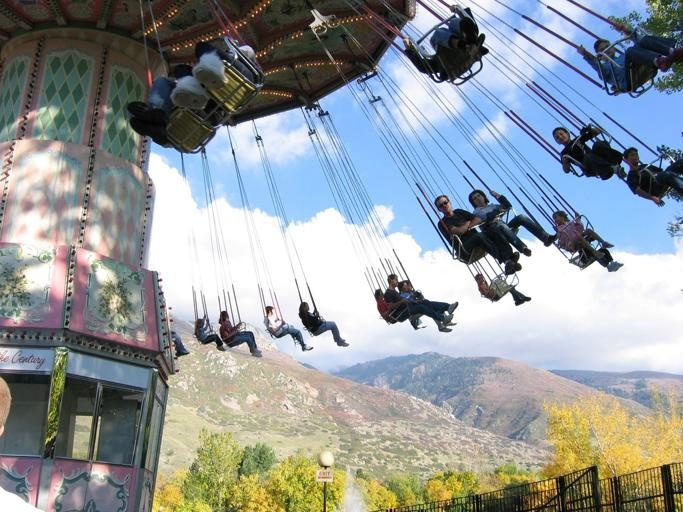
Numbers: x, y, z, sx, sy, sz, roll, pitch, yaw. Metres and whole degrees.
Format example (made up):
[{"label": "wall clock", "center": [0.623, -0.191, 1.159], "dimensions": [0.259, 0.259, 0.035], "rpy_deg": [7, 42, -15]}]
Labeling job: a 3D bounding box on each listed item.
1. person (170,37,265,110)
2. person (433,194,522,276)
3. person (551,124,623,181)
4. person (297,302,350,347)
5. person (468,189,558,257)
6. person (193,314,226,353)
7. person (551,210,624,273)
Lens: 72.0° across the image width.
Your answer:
[{"label": "person", "center": [-2.508, -3.958, 9.922], "dimensions": [1.095, 1.736, 1.449], "rpy_deg": [-21, -22, 38]}, {"label": "person", "center": [3.091, -0.448, 10.206], "dimensions": [1.696, 0.802, 1.052], "rpy_deg": [35, -15, -36]}, {"label": "person", "center": [5.998, -2.488, 11.389], "dimensions": [1.228, 1.967, 0.430], "rpy_deg": [-21, -30, 25]}, {"label": "person", "center": [-0.718, 2.544, 17.251], "dimensions": [1.348, 2.133, 0.941], "rpy_deg": [-12, -28, -20]}, {"label": "person", "center": [3.377, -0.542, 9.734], "dimensions": [1.290, 1.626, 0.811], "rpy_deg": [-19, 7, 43]}, {"label": "person", "center": [-5.193, 3.109, 18.224], "dimensions": [0.922, 1.596, 0.573], "rpy_deg": [-16, -18, -21]}, {"label": "person", "center": [5.920, -0.423, 11.700], "dimensions": [0.881, 1.941, 0.743], "rpy_deg": [-12, -50, -16]}]
